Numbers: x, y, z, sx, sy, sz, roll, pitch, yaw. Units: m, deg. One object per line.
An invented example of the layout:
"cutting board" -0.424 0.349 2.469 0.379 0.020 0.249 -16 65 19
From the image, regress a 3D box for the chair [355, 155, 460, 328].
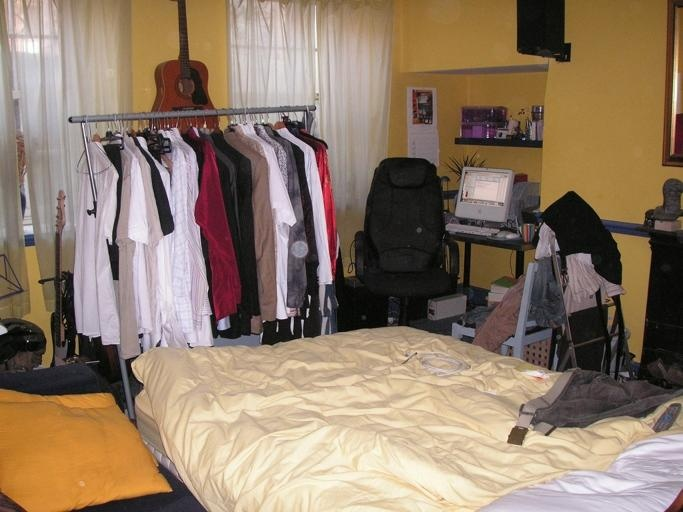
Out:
"chair" 0.504 -0.241 4.468 0.782 1.017 0.602 0 13 1

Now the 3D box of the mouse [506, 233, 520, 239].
"mouse" 1.414 -0.160 4.636 0.124 0.034 0.066 -4 14 -15

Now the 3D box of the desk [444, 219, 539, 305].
"desk" 1.279 -0.060 4.899 0.562 0.884 0.819 -8 12 -44

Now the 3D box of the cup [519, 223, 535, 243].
"cup" 1.497 -0.187 4.569 0.087 0.158 0.151 -1 5 -2

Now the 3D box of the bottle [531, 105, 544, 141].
"bottle" 1.806 -1.219 5.208 0.086 0.315 0.232 3 13 14

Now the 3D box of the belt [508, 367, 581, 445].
"belt" 0.855 0.607 2.391 0.141 0.120 0.640 1 25 33
